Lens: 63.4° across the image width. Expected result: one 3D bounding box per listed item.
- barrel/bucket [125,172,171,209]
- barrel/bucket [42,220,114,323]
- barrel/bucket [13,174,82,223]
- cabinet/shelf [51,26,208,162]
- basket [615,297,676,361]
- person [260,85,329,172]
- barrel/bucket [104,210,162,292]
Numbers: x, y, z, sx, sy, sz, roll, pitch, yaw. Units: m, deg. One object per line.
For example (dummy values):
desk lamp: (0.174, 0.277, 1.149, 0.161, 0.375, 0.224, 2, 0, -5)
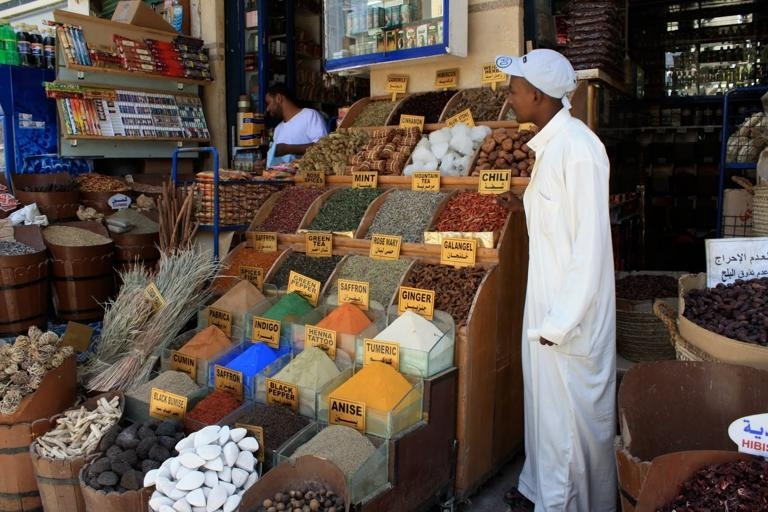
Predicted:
barrel/bucket: (-2.194, -0.626, 5.724, 0.523, 0.182, 0.540, 0, 0, 0)
barrel/bucket: (-2.202, 0.105, 4.514, 0.471, 0.620, 0.444, -1, 16, 0)
barrel/bucket: (-2.680, -0.443, 4.915, 0.546, 0.234, 0.405, 2, 4, 40)
cabinet/shelf: (-2.549, -1.594, 6.267, 0.534, 1.200, 1.572, 4, 10, 37)
basket: (1.785, 0.485, 4.568, 0.485, 0.414, 0.480, -1, 3, -5)
person: (-0.918, -1.264, 6.180, 0.556, 0.758, 0.866, -13, 20, -38)
barrel/bucket: (-1.867, -0.111, 4.903, 0.586, 0.503, 0.467, 1, 0, -19)
